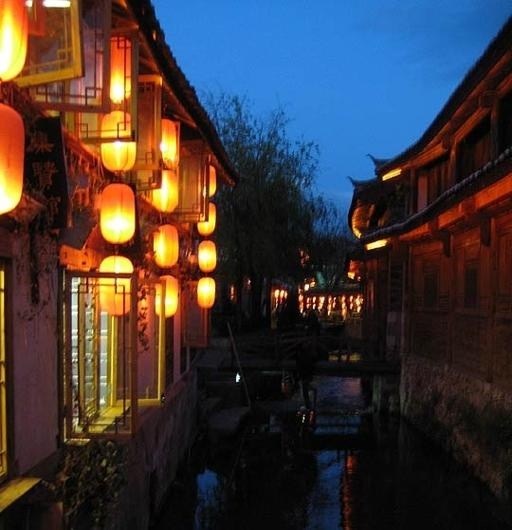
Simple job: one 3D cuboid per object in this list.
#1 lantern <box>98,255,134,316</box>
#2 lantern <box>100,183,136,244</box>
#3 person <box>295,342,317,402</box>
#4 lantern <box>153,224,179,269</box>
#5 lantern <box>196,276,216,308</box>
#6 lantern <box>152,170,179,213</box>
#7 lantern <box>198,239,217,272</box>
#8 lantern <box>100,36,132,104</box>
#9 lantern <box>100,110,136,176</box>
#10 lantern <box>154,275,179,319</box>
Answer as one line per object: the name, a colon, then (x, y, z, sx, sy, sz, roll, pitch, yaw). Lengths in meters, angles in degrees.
lantern: (-1.597, 0.228, 7.270, 0.378, 0.710, 0.692, -1, 0, -13)
lantern: (-1.543, -0.616, 7.424, 0.276, 0.708, 0.312, 2, 1, -26)
person: (1.272, 2.708, 16.207, 0.255, 1.407, 1.218, 4, 27, 13)
lantern: (-1.425, -0.313, 10.038, 0.407, 0.697, 0.298, -1, 0, -18)
lantern: (-1.013, 0.566, 13.358, 0.401, 0.986, 0.483, 0, 1, 4)
lantern: (-1.484, -1.189, 10.383, 0.330, 0.758, 0.385, 4, -8, -27)
lantern: (-1.023, -0.185, 13.204, 0.349, 0.671, 0.436, -1, 0, -8)
lantern: (-1.490, -2.246, 7.049, 0.243, 0.823, 0.847, -1, 0, -11)
lantern: (-1.630, -1.431, 7.406, 0.339, 0.851, 0.407, -7, -11, 22)
lantern: (-1.409, 0.613, 10.035, 0.342, 0.808, 0.463, 6, -31, -17)
